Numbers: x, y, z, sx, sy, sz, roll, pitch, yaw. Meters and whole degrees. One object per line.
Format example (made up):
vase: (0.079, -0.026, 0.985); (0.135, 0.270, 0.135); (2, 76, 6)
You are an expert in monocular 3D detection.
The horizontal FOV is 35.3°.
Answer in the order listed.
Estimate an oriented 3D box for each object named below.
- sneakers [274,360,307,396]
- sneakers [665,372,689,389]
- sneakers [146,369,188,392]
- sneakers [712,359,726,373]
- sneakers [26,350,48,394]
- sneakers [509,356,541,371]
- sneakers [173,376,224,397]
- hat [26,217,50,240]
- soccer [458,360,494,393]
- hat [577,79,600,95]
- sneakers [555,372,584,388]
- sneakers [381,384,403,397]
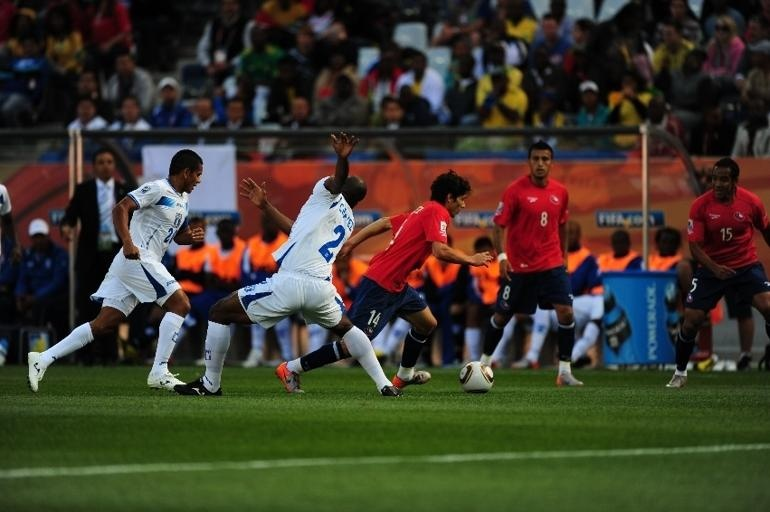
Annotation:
sneakers: (-1.155, 1.476, 14.745); (0.239, 0.548, 0.199); (-26, 14, 18)
sneakers: (3.779, 1.610, 15.684); (0.134, 0.159, 0.390); (-1, 1, 44)
sneakers: (-2.627, 1.479, 14.514); (0.604, 0.267, 0.223); (-2, 3, 9)
sneakers: (5.197, 1.668, 18.804); (0.138, 0.078, 0.293); (6, 31, 29)
sneakers: (-4.114, 1.332, 14.377); (0.259, 0.555, 0.187); (8, 4, -1)
sneakers: (2.276, 1.708, 19.468); (0.505, 0.221, 0.174); (2, -2, 8)
sneakers: (-2.205, 1.543, 14.308); (0.597, 0.263, 0.220); (5, -14, -7)
hat: (-5.656, -0.487, 19.879); (0.336, 0.303, 0.184); (2, -3, -18)
soccer: (1.141, 1.487, 15.017); (0.368, 0.376, 0.372); (16, -6, 8)
hat: (3.316, -2.746, 19.810); (0.280, 0.159, 0.494); (2, -4, -19)
sneakers: (2.424, 1.613, 15.832); (0.281, 0.127, 0.166); (-2, 1, 9)
sneakers: (0.080, 1.569, 14.253); (0.247, 0.139, 0.247); (1, -3, 1)
